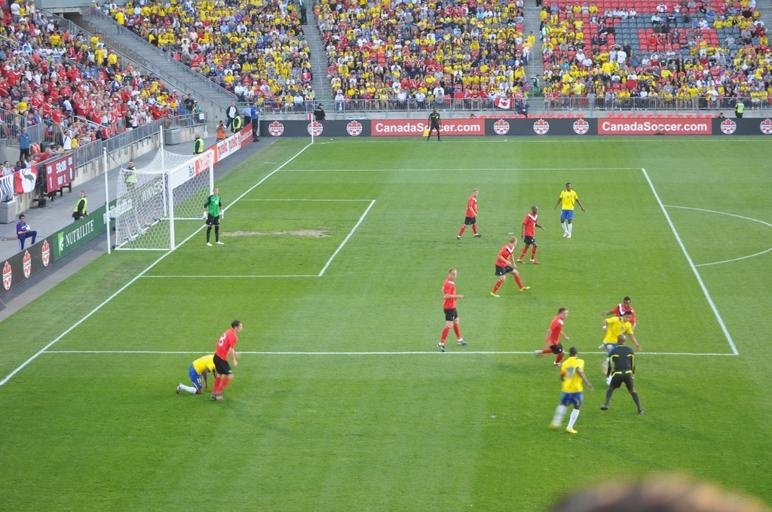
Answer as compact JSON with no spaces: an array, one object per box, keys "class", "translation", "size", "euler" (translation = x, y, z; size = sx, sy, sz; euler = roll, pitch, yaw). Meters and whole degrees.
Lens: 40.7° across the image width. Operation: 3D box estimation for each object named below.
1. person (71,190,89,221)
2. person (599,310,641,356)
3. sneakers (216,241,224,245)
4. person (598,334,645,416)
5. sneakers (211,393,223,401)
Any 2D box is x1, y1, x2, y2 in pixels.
[{"class":"person","translation":[-12.934,-1.995,43.988],"size":[0.580,1.421,1.198],"euler":[-8,21,-17]},{"class":"person","translation":[7.426,2.424,32.775],"size":[0.960,1.290,0.811],"euler":[27,37,27]},{"class":"sneakers","translation":[-7.074,-0.530,44.633],"size":[0.374,0.142,0.124],"euler":[-4,15,10]},{"class":"person","translation":[7.012,3.391,30.509],"size":[1.262,2.138,0.772],"euler":[1,-8,16]},{"class":"sneakers","translation":[-5.068,4.188,31.401],"size":[0.328,0.211,0.167],"euler":[-1,8,5]}]
